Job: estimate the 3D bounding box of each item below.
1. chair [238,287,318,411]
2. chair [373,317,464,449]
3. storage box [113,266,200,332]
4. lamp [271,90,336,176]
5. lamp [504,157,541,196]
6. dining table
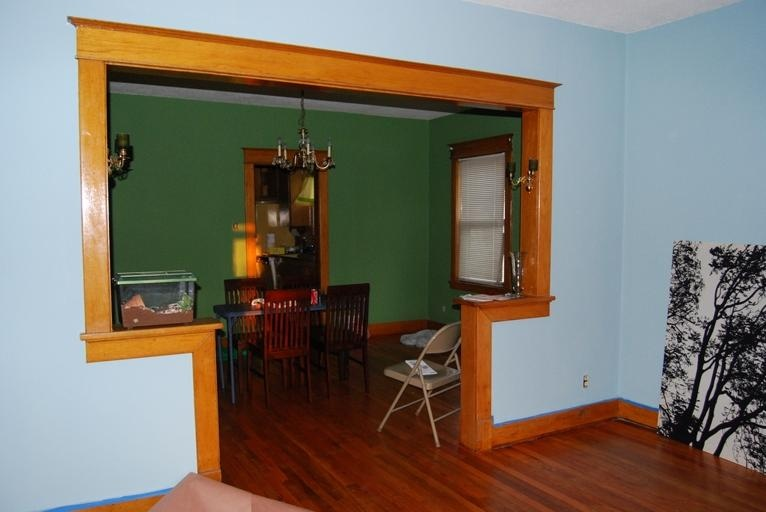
[{"bbox_3d":[-1.107,0.916,6.299,0.606,1.135,0.672,0,-1,-37],"label":"chair"},{"bbox_3d":[0.410,1.127,5.613,0.783,1.105,0.897,-3,6,-31],"label":"chair"},{"bbox_3d":[-1.714,0.277,4.390,0.679,0.487,0.388,-2,10,-26],"label":"storage box"},{"bbox_3d":[-0.930,-1.500,6.870,0.788,0.943,0.814,-2,7,-13],"label":"lamp"},{"bbox_3d":[1.249,-0.722,5.442,0.289,0.408,0.330,1,1,-17],"label":"lamp"},{"bbox_3d":[-1.536,1.230,7.039,1.068,1.285,1.419,-3,-4,-30],"label":"dining table"}]
